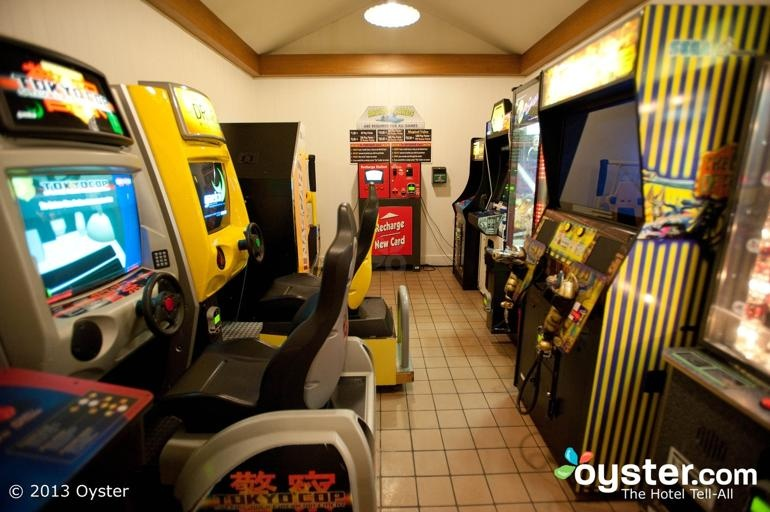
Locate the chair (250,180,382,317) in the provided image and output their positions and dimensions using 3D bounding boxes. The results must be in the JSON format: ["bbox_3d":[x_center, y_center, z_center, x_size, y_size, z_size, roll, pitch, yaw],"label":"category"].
[{"bbox_3d":[-0.531,0.022,4.052,1.101,1.192,0.705,-2,12,0],"label":"chair"}]

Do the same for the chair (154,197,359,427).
[{"bbox_3d":[-0.758,0.329,3.009,1.103,1.362,0.886,4,9,-8],"label":"chair"}]
